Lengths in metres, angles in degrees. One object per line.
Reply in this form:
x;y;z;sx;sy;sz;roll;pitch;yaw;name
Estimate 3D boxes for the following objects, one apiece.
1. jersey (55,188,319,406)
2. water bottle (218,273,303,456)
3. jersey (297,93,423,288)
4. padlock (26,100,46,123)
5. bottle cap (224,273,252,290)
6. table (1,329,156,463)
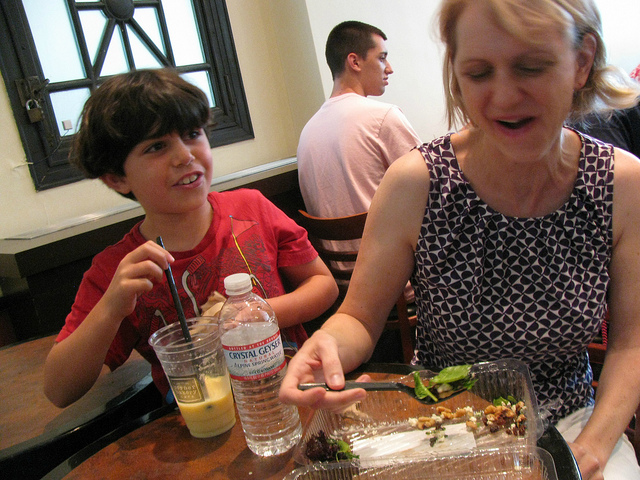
-0.511;-0.014;1.742;0.778;0.759;0.707;-9;15;-35;jersey
-0.142;0.290;1.097;0.149;0.428;0.144;-11;14;3;water bottle
0.158;-0.371;2.807;0.820;1.030;0.501;6;31;22;jersey
-1.639;-0.743;2.687;0.047;0.123;0.100;4;26;28;padlock
-0.183;0.085;1.031;0.038;0.016;0.039;-3;13;1;bottle cap
-0.769;0.355;1.429;0.384;0.317;0.373;-11;19;-41;table
